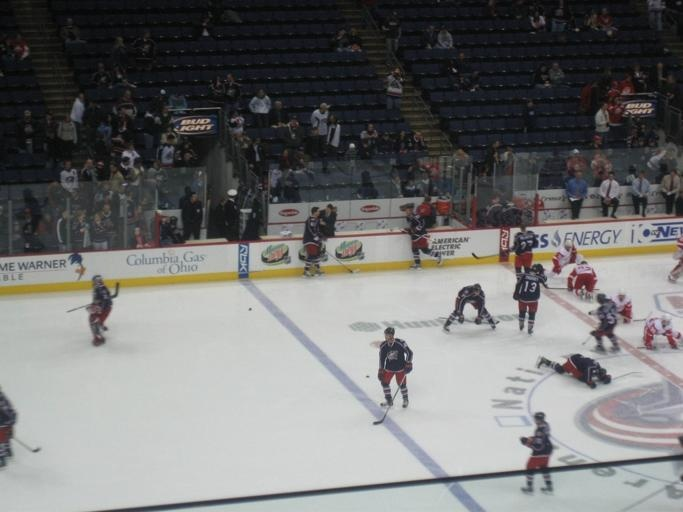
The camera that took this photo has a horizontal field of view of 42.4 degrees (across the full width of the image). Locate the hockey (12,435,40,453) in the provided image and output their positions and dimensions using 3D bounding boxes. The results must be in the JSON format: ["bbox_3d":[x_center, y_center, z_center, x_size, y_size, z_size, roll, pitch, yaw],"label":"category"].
[{"bbox_3d":[-5.947,3.512,16.499,0.585,0.203,0.102,29,17,3],"label":"hockey"}]

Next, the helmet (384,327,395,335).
[{"bbox_3d":[0.912,1.472,17.385,0.141,0.177,0.157,4,-1,7],"label":"helmet"}]

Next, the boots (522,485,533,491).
[{"bbox_3d":[2.527,3.177,12.057,0.055,0.065,0.158,-5,10,-30],"label":"boots"}]

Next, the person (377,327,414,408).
[{"bbox_3d":[1.051,2.197,17.852,0.676,1.745,0.852,-2,10,2],"label":"person"}]

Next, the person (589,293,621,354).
[{"bbox_3d":[6.105,1.461,20.388,0.613,1.427,1.354,1,10,18],"label":"person"}]

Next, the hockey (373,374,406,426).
[{"bbox_3d":[0.966,2.953,18.064,0.233,0.229,1.668,24,21,10],"label":"hockey"}]

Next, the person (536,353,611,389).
[{"bbox_3d":[5.074,2.447,19.092,1.183,0.414,0.746,7,26,28],"label":"person"}]

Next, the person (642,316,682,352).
[{"bbox_3d":[7.455,1.721,20.544,0.856,0.856,0.695,-10,12,-38],"label":"person"}]

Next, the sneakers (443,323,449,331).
[{"bbox_3d":[2.503,1.692,21.193,0.146,0.198,0.226,-2,9,5],"label":"sneakers"}]

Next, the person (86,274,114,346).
[{"bbox_3d":[-5.542,1.195,20.295,0.666,1.589,0.863,-4,10,-10],"label":"person"}]

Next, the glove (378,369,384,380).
[{"bbox_3d":[0.769,2.349,17.614,0.100,0.242,0.120,-3,10,-1],"label":"glove"}]

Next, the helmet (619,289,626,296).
[{"bbox_3d":[6.761,0.864,21.215,0.210,0.165,0.141,-9,12,-35],"label":"helmet"}]

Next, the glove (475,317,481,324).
[{"bbox_3d":[3.310,1.545,21.456,0.173,0.124,0.299,-1,-2,7],"label":"glove"}]

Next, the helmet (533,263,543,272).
[{"bbox_3d":[4.578,0.306,20.649,0.241,0.261,0.194,0,13,16],"label":"helmet"}]

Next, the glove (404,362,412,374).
[{"bbox_3d":[1.324,2.226,17.751,0.173,0.229,0.234,0,0,3],"label":"glove"}]

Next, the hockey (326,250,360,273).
[{"bbox_3d":[0.128,0.145,24.590,0.604,0.140,0.603,32,10,30],"label":"hockey"}]

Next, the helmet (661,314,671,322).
[{"bbox_3d":[7.408,1.403,20.100,0.164,0.162,0.130,-15,0,19],"label":"helmet"}]
